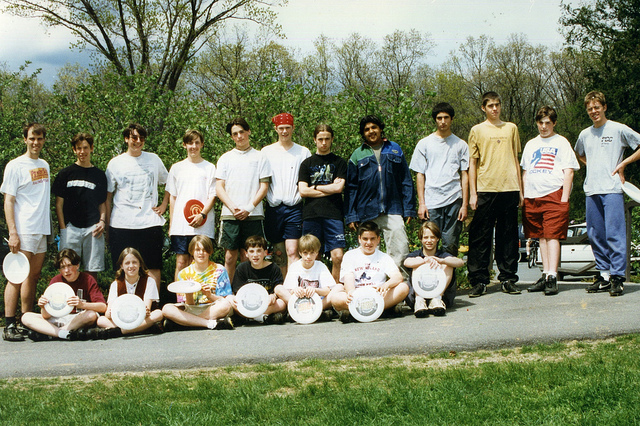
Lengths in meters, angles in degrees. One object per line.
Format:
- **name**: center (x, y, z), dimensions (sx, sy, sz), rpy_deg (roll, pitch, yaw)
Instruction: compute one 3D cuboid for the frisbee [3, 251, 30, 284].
- **frisbee**: center (-5.160, 0.935, 14.669), dimensions (0.478, 0.461, 0.082), rpy_deg (2, -4, 7)
